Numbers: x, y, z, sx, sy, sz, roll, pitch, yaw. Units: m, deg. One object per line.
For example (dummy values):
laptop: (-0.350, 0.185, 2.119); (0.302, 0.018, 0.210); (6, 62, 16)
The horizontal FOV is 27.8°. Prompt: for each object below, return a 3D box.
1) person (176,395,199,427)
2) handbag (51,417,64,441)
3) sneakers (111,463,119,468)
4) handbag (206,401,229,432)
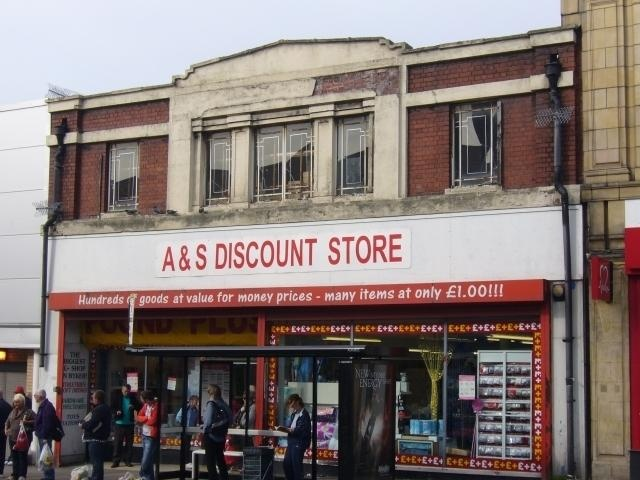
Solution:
person: (-3.149, 4.010, 30.771); (0.518, 0.755, 1.246); (-1, -12, -7)
handbag: (-6.085, 4.357, 30.177); (0.458, 0.497, 0.349); (2, -3, 2)
sneakers: (-5.226, 5.632, 32.872); (0.202, 0.122, 0.214); (0, -12, -14)
handbag: (-2.311, 3.890, 29.067); (0.601, 0.680, 0.144); (4, -12, -28)
